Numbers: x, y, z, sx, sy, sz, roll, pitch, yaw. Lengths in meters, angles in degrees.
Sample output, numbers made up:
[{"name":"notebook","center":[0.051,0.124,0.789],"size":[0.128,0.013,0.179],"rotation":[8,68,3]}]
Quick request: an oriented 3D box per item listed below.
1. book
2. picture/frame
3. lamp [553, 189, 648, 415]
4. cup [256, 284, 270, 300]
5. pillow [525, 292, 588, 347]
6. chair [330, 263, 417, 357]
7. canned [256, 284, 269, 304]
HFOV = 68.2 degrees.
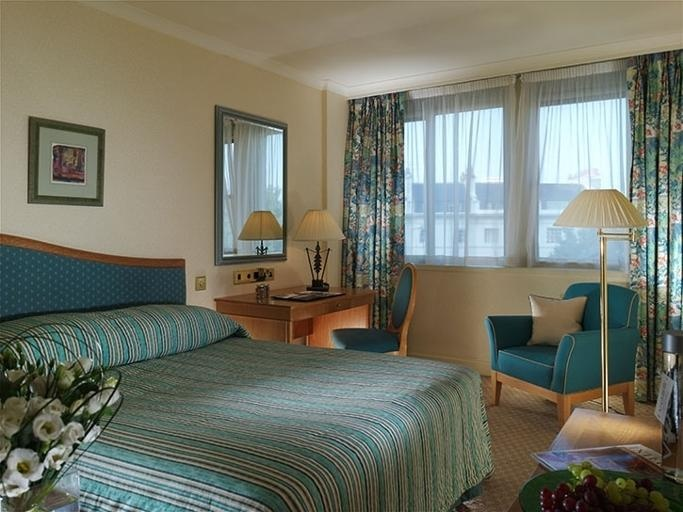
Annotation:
[{"name":"book","center":[0.956,0.764,1.851],"size":[0.238,0.013,0.211],"rotation":[0,-4,-39]},{"name":"picture/frame","center":[-1.748,-0.586,3.116],"size":[0.027,0.705,0.605],"rotation":[2,1,37]},{"name":"lamp","center":[1.717,0.270,3.398],"size":[0.498,1.414,1.267],"rotation":[7,8,31]},{"name":"cup","center":[-0.644,0.291,4.127],"size":[0.112,0.124,0.105],"rotation":[-1,3,0]},{"name":"pillow","center":[1.674,0.499,3.866],"size":[0.366,0.376,0.141],"rotation":[-4,-37,23]},{"name":"chair","center":[0.303,0.441,4.631],"size":[0.745,1.262,0.673],"rotation":[3,-1,-6]},{"name":"canned","center":[-0.632,0.299,4.071],"size":[0.127,0.150,0.127],"rotation":[-1,2,-33]}]
